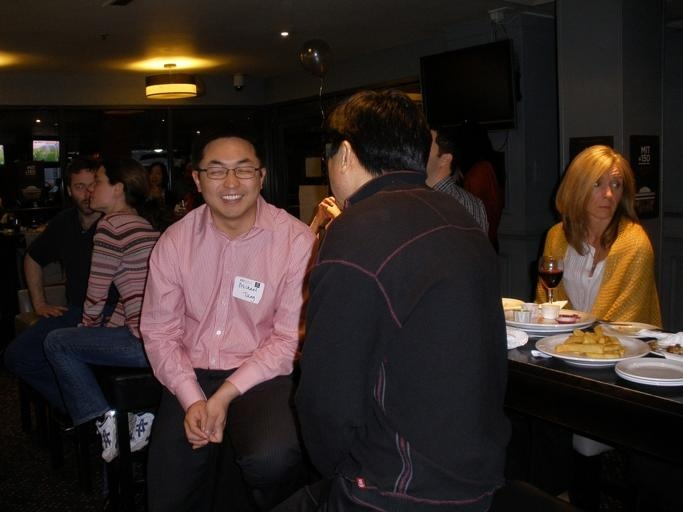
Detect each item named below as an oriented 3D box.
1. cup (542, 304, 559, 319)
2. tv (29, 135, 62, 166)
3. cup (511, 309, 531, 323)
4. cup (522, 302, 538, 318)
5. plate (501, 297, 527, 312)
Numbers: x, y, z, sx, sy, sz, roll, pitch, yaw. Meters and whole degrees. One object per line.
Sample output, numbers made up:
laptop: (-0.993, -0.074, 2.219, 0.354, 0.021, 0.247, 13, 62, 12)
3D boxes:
cup: (0.874, 0.230, 2.153, 0.060, 0.048, 0.060, 0, -2, 0)
tv: (-4.759, -1.728, 8.262, 0.476, 0.480, 0.051, 1, 24, -12)
cup: (0.737, 0.247, 2.113, 0.048, 0.043, 0.056, 3, -4, -24)
cup: (0.801, 0.226, 2.173, 0.056, 0.051, 0.066, -1, -1, -17)
plate: (0.779, 0.221, 2.328, 0.145, 0.063, 0.166, 1, -2, 5)
